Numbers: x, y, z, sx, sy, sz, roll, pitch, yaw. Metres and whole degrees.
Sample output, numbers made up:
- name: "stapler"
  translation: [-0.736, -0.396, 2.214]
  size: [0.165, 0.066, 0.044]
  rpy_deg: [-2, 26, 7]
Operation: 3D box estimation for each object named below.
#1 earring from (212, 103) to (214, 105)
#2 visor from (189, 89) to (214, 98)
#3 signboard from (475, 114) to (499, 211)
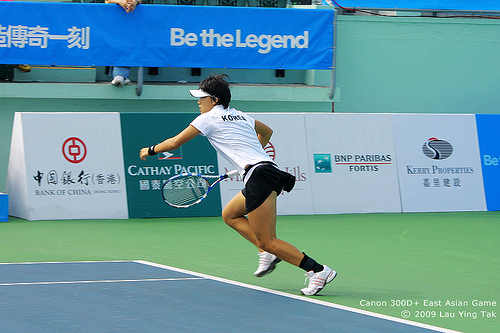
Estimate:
- name: "earring"
  translation: [-0.453, -0.786, 6.831]
  size: [0.041, 0.030, 0.008]
  rpy_deg: [-1, -1, -4]
- name: "visor"
  translation: [-0.623, -0.903, 6.813]
  size: [0.191, 0.042, 0.097]
  rpy_deg: [11, 3, -20]
- name: "signboard"
  translation: [5.155, -0.124, 11.778]
  size: [0.432, 1.838, 0.600]
  rpy_deg: [7, -7, -29]
